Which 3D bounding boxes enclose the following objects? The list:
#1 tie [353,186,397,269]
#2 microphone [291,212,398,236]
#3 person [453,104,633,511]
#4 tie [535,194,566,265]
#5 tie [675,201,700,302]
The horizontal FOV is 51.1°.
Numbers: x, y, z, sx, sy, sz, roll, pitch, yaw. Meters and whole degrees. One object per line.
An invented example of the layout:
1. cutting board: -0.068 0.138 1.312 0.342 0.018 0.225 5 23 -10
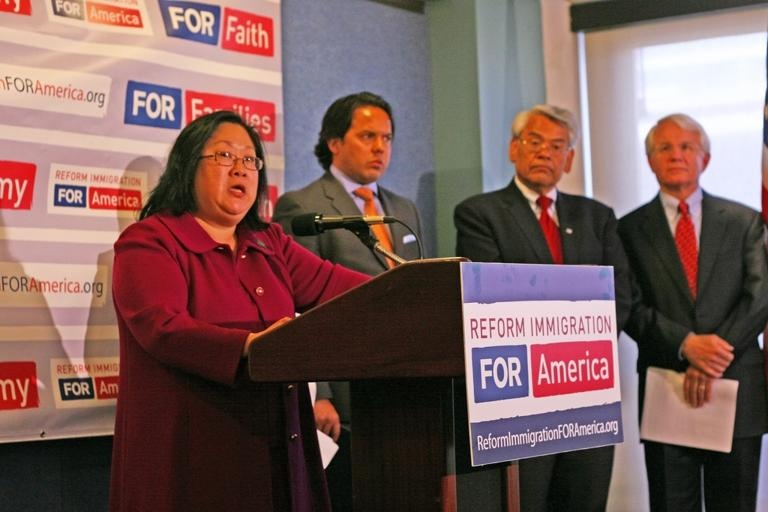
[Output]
1. tie: -0.054 -0.121 3.768 0.068 0.456 0.065 -15 -23 -18
2. microphone: -0.180 -0.128 3.269 0.452 0.111 0.117 -5 -14 21
3. person: 0.821 0.249 4.367 0.805 2.172 1.033 1 5 38
4. tie: 0.909 -0.152 4.385 0.113 0.365 0.219 -2 4 3
5. tie: 1.773 -0.037 4.681 0.096 0.551 0.043 -4 -16 6
